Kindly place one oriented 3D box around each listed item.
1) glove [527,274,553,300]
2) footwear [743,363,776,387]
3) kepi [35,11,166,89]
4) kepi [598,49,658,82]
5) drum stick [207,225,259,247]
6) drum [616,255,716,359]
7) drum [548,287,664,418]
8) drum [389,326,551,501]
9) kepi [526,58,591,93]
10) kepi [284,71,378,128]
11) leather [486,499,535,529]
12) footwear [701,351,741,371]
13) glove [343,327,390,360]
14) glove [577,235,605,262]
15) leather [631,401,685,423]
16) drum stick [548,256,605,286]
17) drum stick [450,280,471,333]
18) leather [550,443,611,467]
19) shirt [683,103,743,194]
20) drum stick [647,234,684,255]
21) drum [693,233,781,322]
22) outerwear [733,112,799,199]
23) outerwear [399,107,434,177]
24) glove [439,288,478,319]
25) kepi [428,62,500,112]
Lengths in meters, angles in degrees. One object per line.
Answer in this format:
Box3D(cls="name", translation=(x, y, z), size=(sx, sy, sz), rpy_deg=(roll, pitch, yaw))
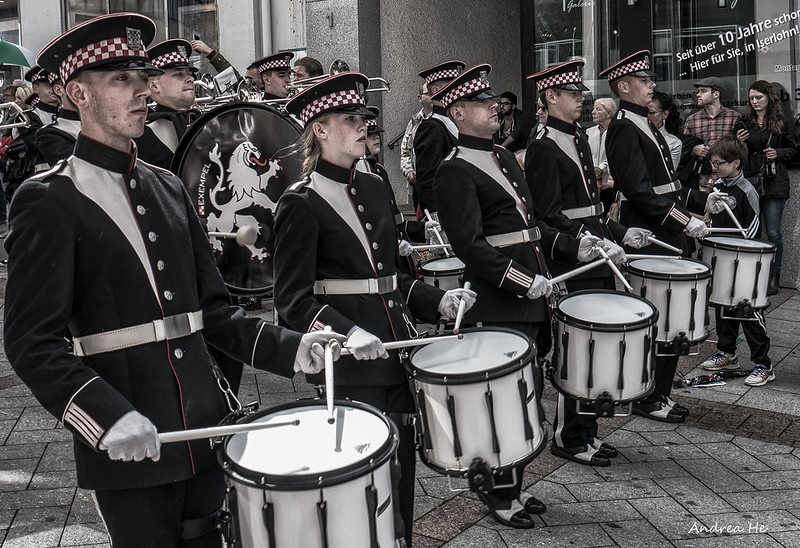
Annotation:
Box3D(cls="glove", translation=(0.823, 0.072, 5.896), size=(0.187, 0.130, 0.069), rpy_deg=(-13, 16, -37))
Box3D(cls="footwear", translation=(2.732, 0.767, 7.674), size=(0.160, 0.143, 0.291), rpy_deg=(7, 16, 39))
Box3D(cls="kepi", translation=(-1.299, -0.956, 4.318), size=(0.417, 0.147, 0.358), rpy_deg=(-10, -1, 21))
Box3D(cls="kepi", translation=(1.697, -1.508, 7.567), size=(0.373, 0.147, 0.310), rpy_deg=(-6, 13, 27))
Box3D(cls="drum stick", translation=(-0.955, -0.223, 5.902), size=(0.135, 0.133, 0.413), rpy_deg=(-12, 11, -41))
Box3D(cls="drum", translation=(1.688, 0.192, 6.722), size=(0.681, 0.557, 0.683), rpy_deg=(-1, 11, 4))
Box3D(cls="drum", translation=(1.148, 0.439, 6.073), size=(0.740, 0.632, 0.720), rpy_deg=(1, 18, 6))
Box3D(cls="drum", translation=(0.401, 0.713, 5.271), size=(0.700, 0.655, 0.613), rpy_deg=(-9, 14, -24))
Box3D(cls="kepi", translation=(1.076, -1.311, 6.717), size=(0.346, 0.148, 0.264), rpy_deg=(-2, 8, 17))
Box3D(cls="kepi", translation=(-0.383, -0.885, 5.344), size=(0.367, 0.149, 0.338), rpy_deg=(-6, 1, 13))
Box3D(cls="leather", translation=(0.639, 1.382, 5.732), size=(0.134, 0.082, 0.247), rpy_deg=(-9, 14, -39))
Box3D(cls="footwear", translation=(2.522, 0.695, 7.939), size=(0.353, 0.137, 0.121), rpy_deg=(1, 6, 6))
Box3D(cls="glove", translation=(-0.166, 0.335, 4.772), size=(0.189, 0.136, 0.229), rpy_deg=(-4, 12, -3))
Box3D(cls="glove", translation=(1.204, -0.163, 6.385), size=(0.153, 0.172, 0.071), rpy_deg=(5, 2, -10))
Box3D(cls="leather", translation=(1.809, 0.979, 7.051), size=(0.327, 0.106, 0.154), rpy_deg=(4, 15, 22))
Box3D(cls="drum stick", translation=(1.163, -0.019, 6.575), size=(0.388, 0.046, 0.049), rpy_deg=(-24, 0, -17))
Box3D(cls="drum stick", translation=(0.339, 0.177, 5.278), size=(0.062, 0.046, 0.346), rpy_deg=(25, 47, -3))
Box3D(cls="leather", translation=(1.153, 1.144, 6.408), size=(0.332, 0.094, 0.127), rpy_deg=(3, 11, 24))
Box3D(cls="shirt", translation=(3.063, -1.252, 9.978), size=(1.003, 0.872, 0.424), rpy_deg=(1, -4, 8))
Box3D(cls="drum stick", translation=(1.916, -0.209, 7.345), size=(0.213, 0.049, 0.074), rpy_deg=(29, -3, 6))
Box3D(cls="drum", translation=(2.447, 0.000, 7.477), size=(0.583, 0.509, 0.622), rpy_deg=(12, 22, 34))
Box3D(cls="outerwear", translation=(3.623, -1.121, 9.892), size=(0.708, 0.768, 0.325), rpy_deg=(-1, 4, 10))
Box3D(cls="outerwear", translation=(0.138, -1.454, 11.209), size=(0.630, 0.718, 0.421), rpy_deg=(2, 4, 3))
Box3D(cls="glove", translation=(0.311, 0.161, 5.458), size=(0.195, 0.155, 0.154), rpy_deg=(13, 0, 1))
Box3D(cls="kepi", translation=(0.375, -1.128, 6.129), size=(0.383, 0.179, 0.307), rpy_deg=(-5, 4, 22))
